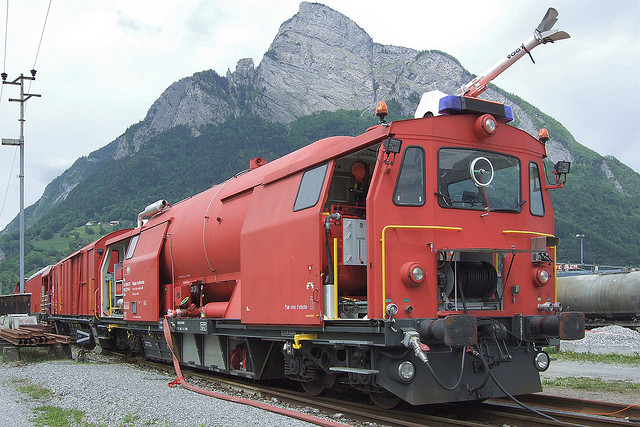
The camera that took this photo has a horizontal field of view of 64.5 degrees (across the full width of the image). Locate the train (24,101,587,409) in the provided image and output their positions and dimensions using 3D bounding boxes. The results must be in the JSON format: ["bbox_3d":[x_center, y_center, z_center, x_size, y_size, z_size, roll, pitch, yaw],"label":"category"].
[{"bbox_3d":[-3.044,1.917,17.733,6.141,6.477,22.830,5,-6,-35],"label":"train"}]
